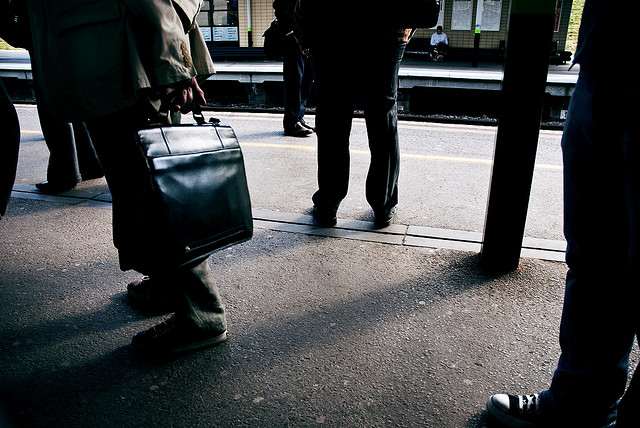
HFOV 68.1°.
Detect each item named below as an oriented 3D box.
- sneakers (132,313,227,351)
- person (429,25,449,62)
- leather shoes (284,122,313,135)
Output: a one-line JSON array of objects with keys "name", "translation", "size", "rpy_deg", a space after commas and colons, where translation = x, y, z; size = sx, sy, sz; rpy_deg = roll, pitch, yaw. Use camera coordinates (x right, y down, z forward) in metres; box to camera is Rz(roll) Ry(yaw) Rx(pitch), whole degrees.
[{"name": "sneakers", "translation": [-0.818, 0.702, 2.807], "size": [0.555, 0.202, 0.192], "rpy_deg": [2, 15, -12]}, {"name": "person", "translation": [5.160, -7.394, 20.526], "size": [0.811, 1.341, 0.923], "rpy_deg": [17, 46, 28]}, {"name": "leather shoes", "translation": [-0.351, -1.283, 7.245], "size": [0.488, 0.190, 0.163], "rpy_deg": [0, 41, -4]}]
